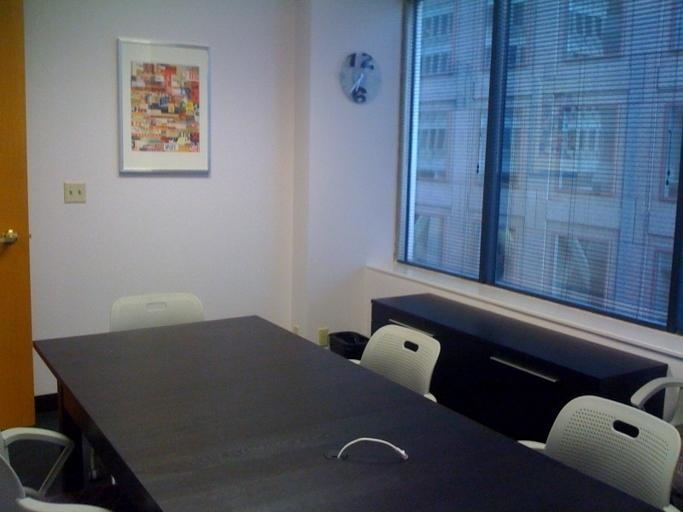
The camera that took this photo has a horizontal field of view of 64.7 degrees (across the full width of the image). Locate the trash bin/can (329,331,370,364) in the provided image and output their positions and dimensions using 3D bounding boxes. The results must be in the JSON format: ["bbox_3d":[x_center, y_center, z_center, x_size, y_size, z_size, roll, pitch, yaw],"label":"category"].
[{"bbox_3d":[0.065,0.712,4.290,0.216,0.209,0.223,3,2,-25],"label":"trash bin/can"}]

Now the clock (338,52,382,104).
[{"bbox_3d":[0.139,-1.460,4.382,0.392,0.494,0.067,-3,11,-29],"label":"clock"}]
